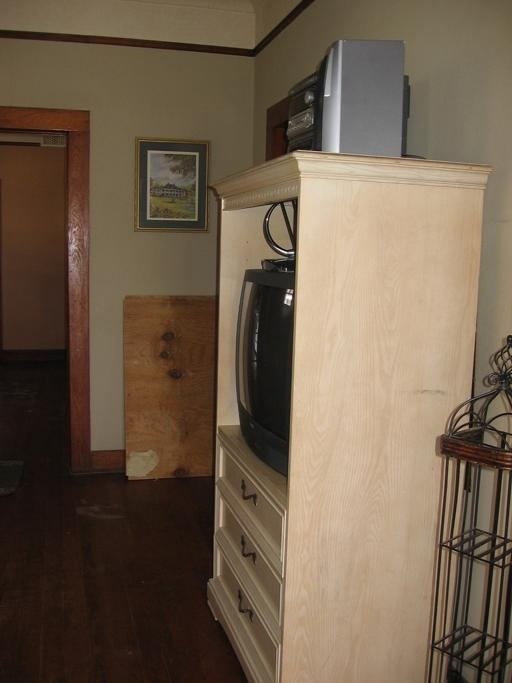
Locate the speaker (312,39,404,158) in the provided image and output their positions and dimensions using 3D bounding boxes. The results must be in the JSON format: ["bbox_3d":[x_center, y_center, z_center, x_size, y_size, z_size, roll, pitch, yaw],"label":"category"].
[{"bbox_3d":[0.226,-0.549,1.527,0.234,0.381,0.365,1,13,0],"label":"speaker"}]
